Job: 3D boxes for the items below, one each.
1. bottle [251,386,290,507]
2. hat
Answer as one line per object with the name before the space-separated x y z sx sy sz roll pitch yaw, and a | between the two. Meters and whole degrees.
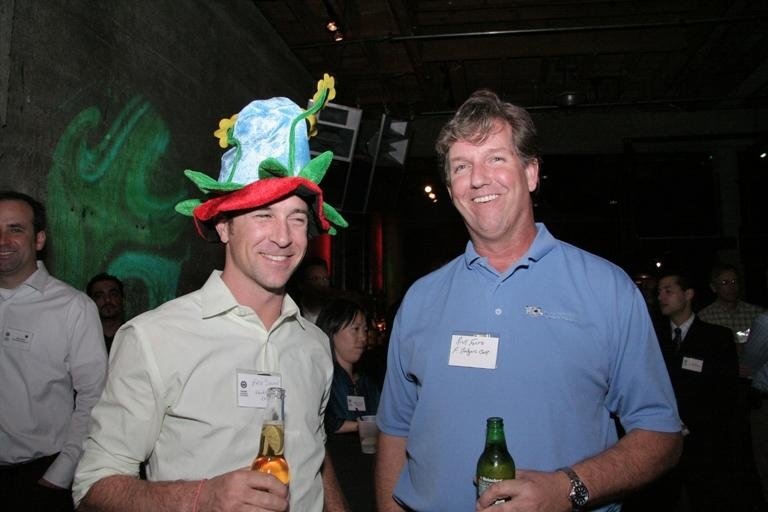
bottle | -0.503 0.786 2.648 0.154 0.418 0.215 -1 0 -13
hat | -0.642 -0.572 3.044 0.828 0.736 0.906 5 26 -3
